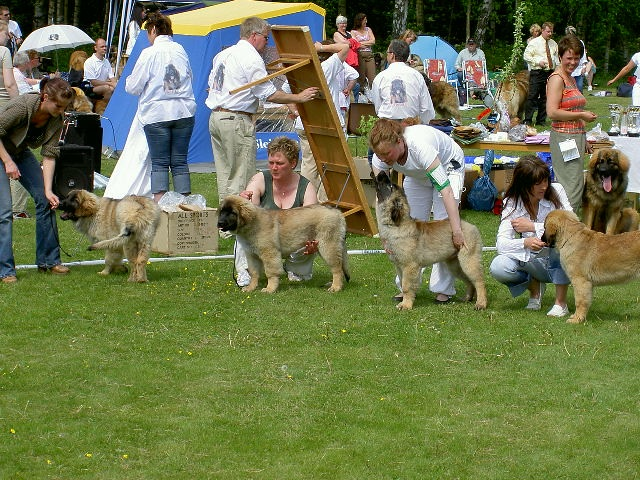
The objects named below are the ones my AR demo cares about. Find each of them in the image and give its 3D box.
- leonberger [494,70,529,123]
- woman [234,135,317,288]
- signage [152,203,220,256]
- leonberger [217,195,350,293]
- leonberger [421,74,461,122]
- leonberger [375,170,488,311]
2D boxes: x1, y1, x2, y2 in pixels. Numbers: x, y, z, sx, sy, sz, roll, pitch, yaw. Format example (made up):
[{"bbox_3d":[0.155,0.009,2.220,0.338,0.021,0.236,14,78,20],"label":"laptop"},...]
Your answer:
[{"bbox_3d":[4.148,-3.007,18.911,0.508,1.101,2.336,5,15,22],"label":"leonberger"},{"bbox_3d":[-0.497,-0.234,10.182,1.009,1.755,0.980,-2,19,-6],"label":"woman"},{"bbox_3d":[-1.669,-0.102,11.208,0.701,0.474,0.685,1,4,-15],"label":"signage"},{"bbox_3d":[-0.378,0.033,9.842,1.517,1.114,0.541,-3,8,-19],"label":"leonberger"},{"bbox_3d":[2.412,-2.702,17.113,0.573,0.798,0.868,1,5,6],"label":"leonberger"},{"bbox_3d":[1.143,0.025,9.181,1.136,1.425,0.587,2,5,10],"label":"leonberger"}]
